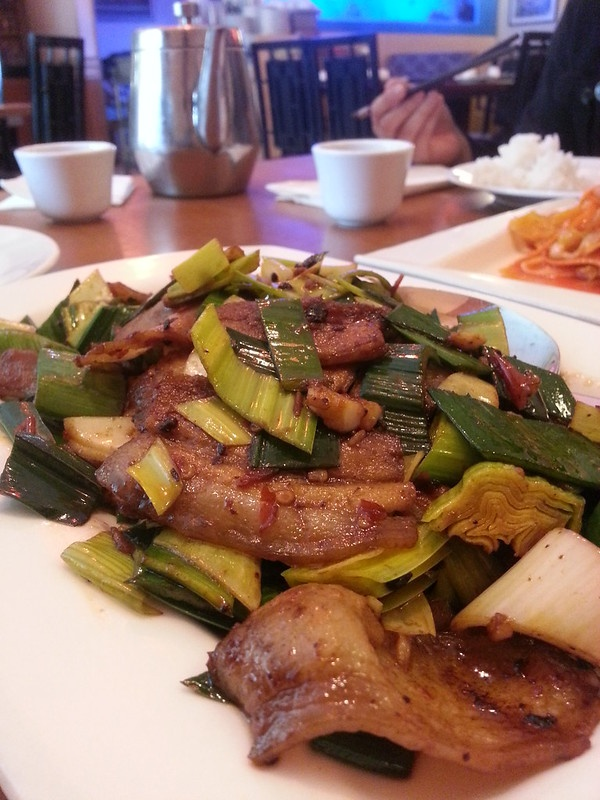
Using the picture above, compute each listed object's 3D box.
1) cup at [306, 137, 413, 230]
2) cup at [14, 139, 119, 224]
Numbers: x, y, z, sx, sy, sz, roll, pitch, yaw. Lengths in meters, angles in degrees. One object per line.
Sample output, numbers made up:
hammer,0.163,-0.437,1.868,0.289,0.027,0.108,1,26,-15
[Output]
cup,0.195,-0.711,2.226,0.315,0.217,0.284,-12,27,-17
cup,-0.784,-0.730,2.260,0.338,0.239,0.317,0,25,0
